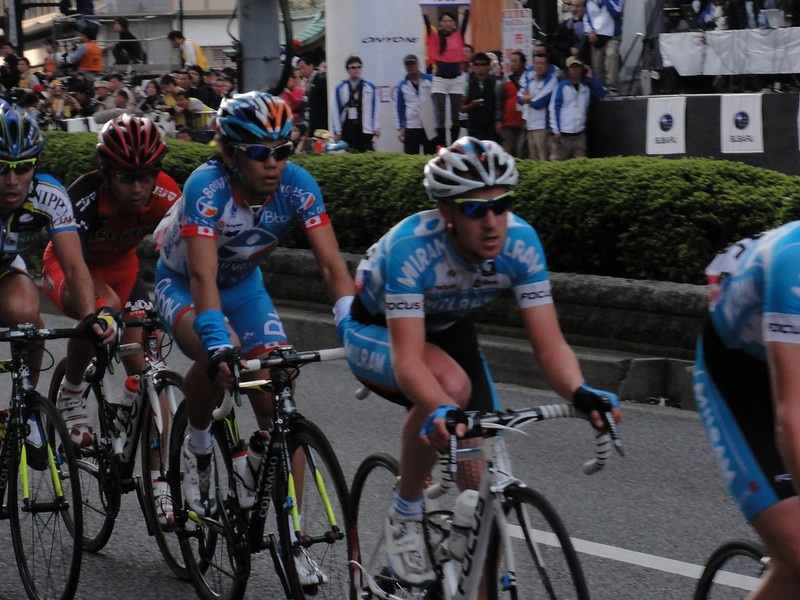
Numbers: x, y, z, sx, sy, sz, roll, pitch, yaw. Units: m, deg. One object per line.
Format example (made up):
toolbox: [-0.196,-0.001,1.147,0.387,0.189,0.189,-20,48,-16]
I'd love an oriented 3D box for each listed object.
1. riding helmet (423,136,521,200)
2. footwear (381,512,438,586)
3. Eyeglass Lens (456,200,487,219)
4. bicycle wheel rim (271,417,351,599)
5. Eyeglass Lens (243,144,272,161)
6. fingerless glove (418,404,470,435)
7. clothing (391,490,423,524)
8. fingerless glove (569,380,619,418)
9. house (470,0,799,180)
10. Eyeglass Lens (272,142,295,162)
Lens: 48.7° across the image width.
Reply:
riding helmet: [0.290,-0.556,3.720,0.428,0.218,0.558,-10,5,-11]
footwear: [0.014,1.052,3.865,0.146,0.157,0.379,-8,27,-16]
Eyeglass Lens: [0.287,-0.362,3.506,0.120,0.077,0.022,2,14,15]
bicycle wheel rim: [-0.435,0.994,4.125,0.237,0.897,0.521,-10,16,-34]
Eyeglass Lens: [-0.688,-0.712,4.281,0.135,0.083,0.031,-3,13,-7]
fingerless glove: [0.154,0.448,3.225,0.141,0.052,0.105,-29,-28,34]
clothing: [0.031,0.893,3.843,0.112,0.096,0.134,13,7,5]
fingerless glove: [0.740,0.379,3.380,0.164,0.085,0.159,0,12,7]
house: [4.100,-2.503,12.687,4.128,0.925,3.765,2,1,41]
Eyeglass Lens: [-0.586,-0.714,4.344,0.108,0.039,0.107,-7,-3,-42]
